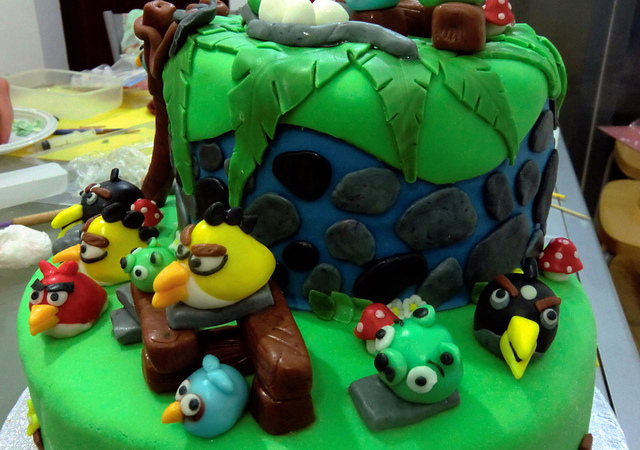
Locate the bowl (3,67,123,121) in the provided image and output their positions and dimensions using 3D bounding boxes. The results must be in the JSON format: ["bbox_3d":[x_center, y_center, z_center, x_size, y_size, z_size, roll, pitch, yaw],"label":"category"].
[{"bbox_3d":[-1.347,-0.702,2.887,0.539,0.221,0.554,-2,25,1],"label":"bowl"}]

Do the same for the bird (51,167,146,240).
[{"bbox_3d":[-0.741,-0.045,1.794,0.284,0.233,0.189,-13,24,-19],"label":"bird"}]

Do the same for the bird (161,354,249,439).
[{"bbox_3d":[-0.278,0.440,1.374,0.236,0.189,0.169,-20,33,-41],"label":"bird"}]

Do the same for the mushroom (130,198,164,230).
[{"bbox_3d":[-0.571,-0.031,1.797,0.070,0.088,0.087,19,7,24],"label":"mushroom"}]
